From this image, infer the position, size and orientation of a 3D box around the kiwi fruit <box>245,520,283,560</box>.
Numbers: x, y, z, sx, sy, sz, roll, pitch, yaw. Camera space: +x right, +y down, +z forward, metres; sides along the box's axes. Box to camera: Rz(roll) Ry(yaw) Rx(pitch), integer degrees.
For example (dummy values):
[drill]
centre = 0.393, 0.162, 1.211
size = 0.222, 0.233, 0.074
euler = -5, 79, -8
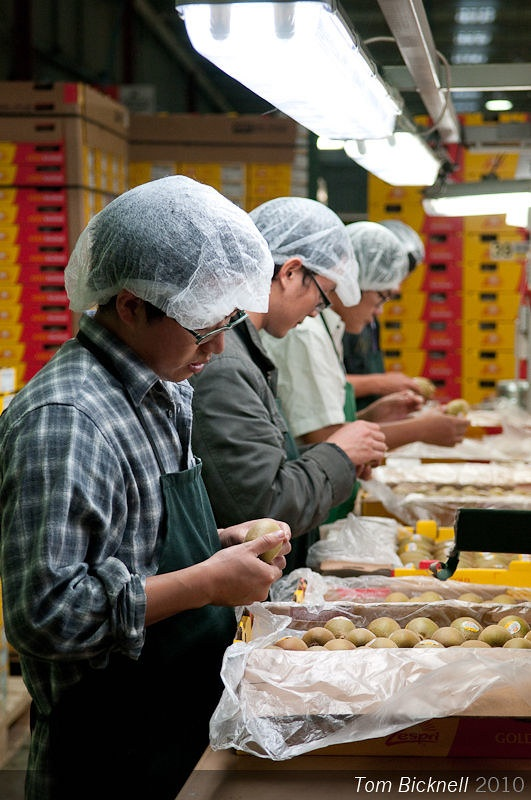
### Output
[kiwi fruit]
centre = -0.001, 0.260, 1.262
size = 0.045, 0.046, 0.059
euler = 28, 35, -10

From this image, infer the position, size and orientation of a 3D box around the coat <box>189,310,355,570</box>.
[coat]
centre = 0.001, 0.137, 2.082
size = 0.541, 0.889, 0.685
euler = -2, 14, -2

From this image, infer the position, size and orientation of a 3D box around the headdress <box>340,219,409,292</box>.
[headdress]
centre = 0.564, -0.748, 3.550
size = 0.322, 0.369, 0.410
euler = 6, 9, 35

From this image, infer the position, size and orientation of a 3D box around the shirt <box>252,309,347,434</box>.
[shirt]
centre = 0.189, -0.126, 2.686
size = 0.347, 0.511, 0.604
euler = 3, 11, 2

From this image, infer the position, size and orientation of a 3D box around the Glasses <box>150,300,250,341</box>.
[Glasses]
centre = -0.120, -0.126, 1.168
size = 0.114, 0.032, 0.113
euler = 39, 28, 14
